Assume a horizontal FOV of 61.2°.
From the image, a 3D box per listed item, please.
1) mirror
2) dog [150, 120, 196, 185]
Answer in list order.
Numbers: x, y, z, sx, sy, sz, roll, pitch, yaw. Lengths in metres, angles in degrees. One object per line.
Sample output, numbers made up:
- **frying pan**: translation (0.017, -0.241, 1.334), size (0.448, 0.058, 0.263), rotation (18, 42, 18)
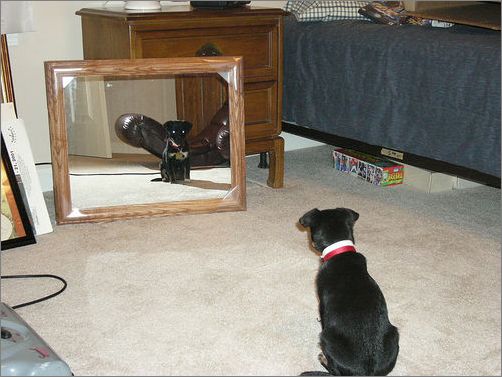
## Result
- **mirror**: translation (-0.557, -0.256, 2.182), size (1.045, 0.738, 0.069), rotation (-4, 15, -7)
- **dog**: translation (-0.410, -0.181, 2.326), size (0.237, 0.312, 0.367), rotation (-1, -9, -19)
